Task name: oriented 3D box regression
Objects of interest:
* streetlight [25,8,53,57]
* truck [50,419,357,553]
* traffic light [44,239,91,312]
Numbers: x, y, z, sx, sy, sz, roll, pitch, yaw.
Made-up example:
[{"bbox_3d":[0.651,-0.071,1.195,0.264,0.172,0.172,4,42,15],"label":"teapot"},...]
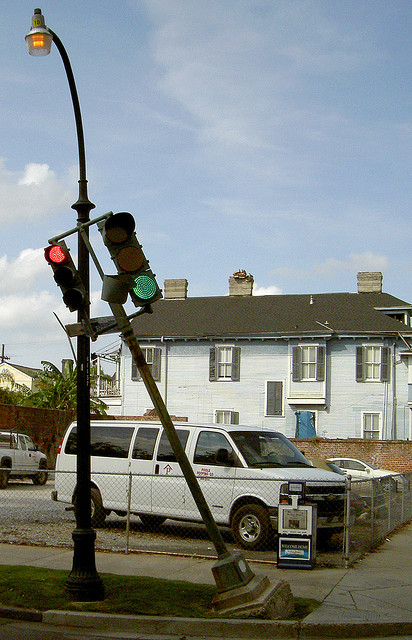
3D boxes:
[{"bbox_3d":[-1.952,-3.384,11.682,0.304,0.550,0.272,0,-5,-1],"label":"streetlight"},{"bbox_3d":[-0.257,2.526,16.074,4.815,1.718,2.371,-6,-9,34],"label":"truck"},{"bbox_3d":[-1.524,-0.471,11.048,0.492,0.784,0.296,1,-5,-12],"label":"traffic light"}]
